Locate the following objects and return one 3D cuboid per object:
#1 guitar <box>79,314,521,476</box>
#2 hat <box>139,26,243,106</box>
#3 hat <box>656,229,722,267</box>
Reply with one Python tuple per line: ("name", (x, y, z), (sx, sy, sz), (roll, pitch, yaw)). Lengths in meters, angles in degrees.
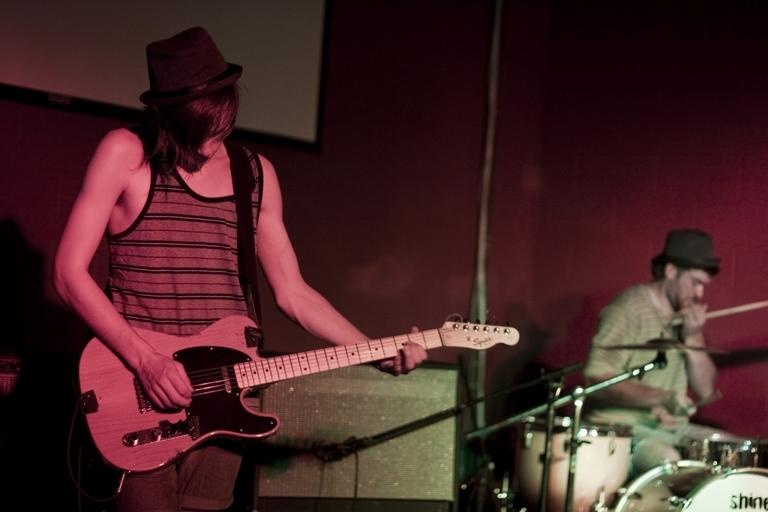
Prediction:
("guitar", (-0.296, 0.448, 2.570), (1.616, 0.562, 0.163), (-11, 2, -24))
("hat", (-0.768, -0.734, 2.605), (0.342, 0.157, 0.293), (-15, 25, 21))
("hat", (1.865, -0.039, 4.064), (0.297, 0.175, 0.220), (18, -4, 2))
